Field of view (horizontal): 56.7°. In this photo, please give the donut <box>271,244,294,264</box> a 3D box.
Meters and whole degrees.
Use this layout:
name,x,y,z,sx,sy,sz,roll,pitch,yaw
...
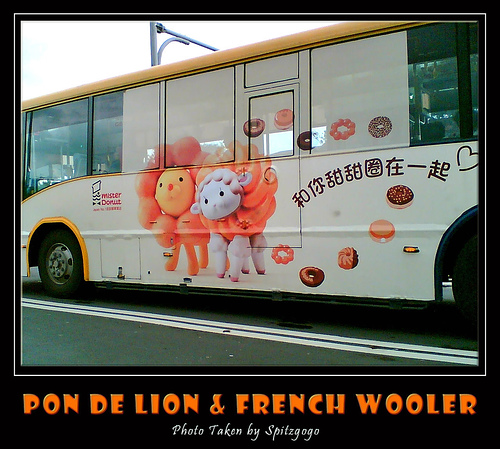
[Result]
name,x,y,z,sx,sy,sz,roll,pitch,yaw
donut,0.389,0.330,5.373,0.196,0.228,0.032,-2,-4,25

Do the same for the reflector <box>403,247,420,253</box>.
name,x,y,z,sx,sy,sz,roll,pitch,yaw
reflector,1.690,0.252,4.807,0.154,0.057,0.009,0,1,23
